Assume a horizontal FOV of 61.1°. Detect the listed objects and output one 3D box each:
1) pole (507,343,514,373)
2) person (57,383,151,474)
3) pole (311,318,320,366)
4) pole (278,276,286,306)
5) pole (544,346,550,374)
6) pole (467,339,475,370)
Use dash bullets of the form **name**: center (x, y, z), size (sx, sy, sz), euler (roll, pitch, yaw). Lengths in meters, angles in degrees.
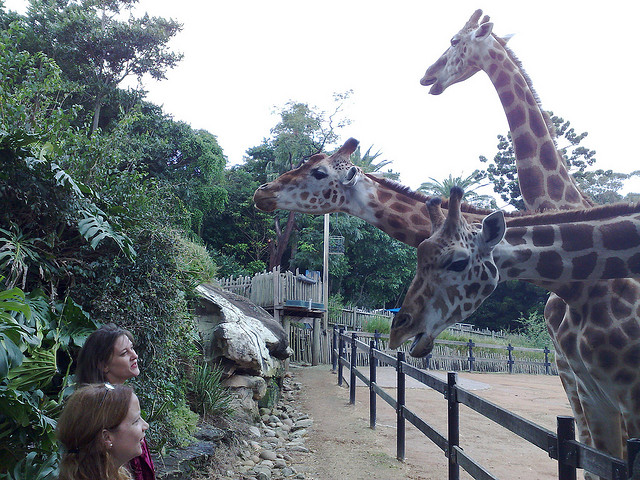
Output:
- **pole**: center (7.441, 4.653, 21.307), size (0.235, 1.057, 0.776), euler (1, -8, 26)
- **person**: center (-1.500, 1.244, 3.895), size (0.548, 0.862, 0.512), euler (-1, 3, -19)
- **pole**: center (-0.140, 3.279, 17.587), size (0.225, 1.499, 0.323), euler (4, -6, -1)
- **pole**: center (-1.081, 1.495, 15.975), size (0.186, 0.877, 0.322), euler (5, -6, -4)
- **pole**: center (9.291, 4.989, 22.327), size (0.197, 0.992, 0.690), euler (1, -7, 25)
- **pole**: center (5.565, 4.264, 20.038), size (0.181, 1.005, 0.505), euler (0, -8, 32)
